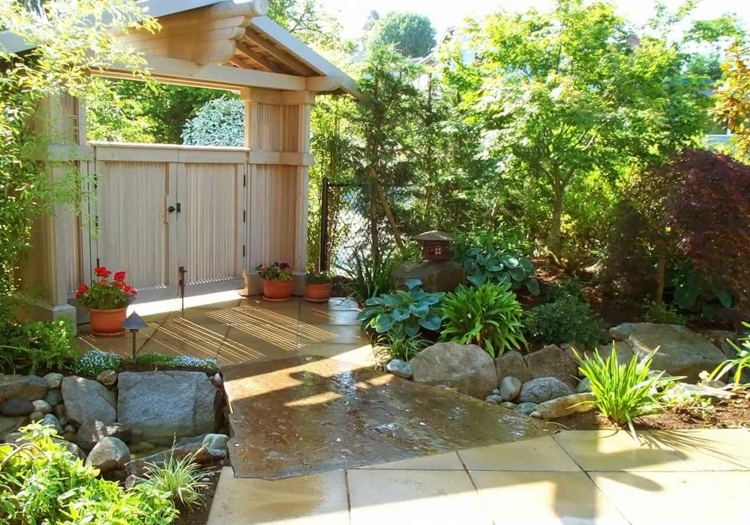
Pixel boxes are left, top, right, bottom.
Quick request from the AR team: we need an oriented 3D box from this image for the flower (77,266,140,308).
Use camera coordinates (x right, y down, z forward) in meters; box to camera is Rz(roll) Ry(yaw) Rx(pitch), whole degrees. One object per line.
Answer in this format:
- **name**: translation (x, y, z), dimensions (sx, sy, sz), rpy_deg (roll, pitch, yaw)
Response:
- **flower**: translation (-3.337, 0.344, 6.124), dimensions (0.628, 0.464, 0.683), rpy_deg (9, 1, 0)

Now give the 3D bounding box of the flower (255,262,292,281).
- **flower**: translation (-1.552, 0.137, 7.726), dimensions (0.372, 0.180, 0.360), rpy_deg (4, 10, 0)

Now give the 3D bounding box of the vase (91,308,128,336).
- **vase**: translation (-3.198, 0.695, 5.908), dimensions (0.342, 0.247, 0.336), rpy_deg (1, 4, 4)

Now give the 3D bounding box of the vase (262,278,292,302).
- **vase**: translation (-1.508, 0.412, 7.606), dimensions (0.373, 0.233, 0.361), rpy_deg (0, 0, -5)

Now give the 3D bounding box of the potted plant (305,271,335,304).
- **potted plant**: translation (-0.917, 0.370, 7.730), dimensions (0.482, 0.453, 0.435), rpy_deg (1, -2, -15)
